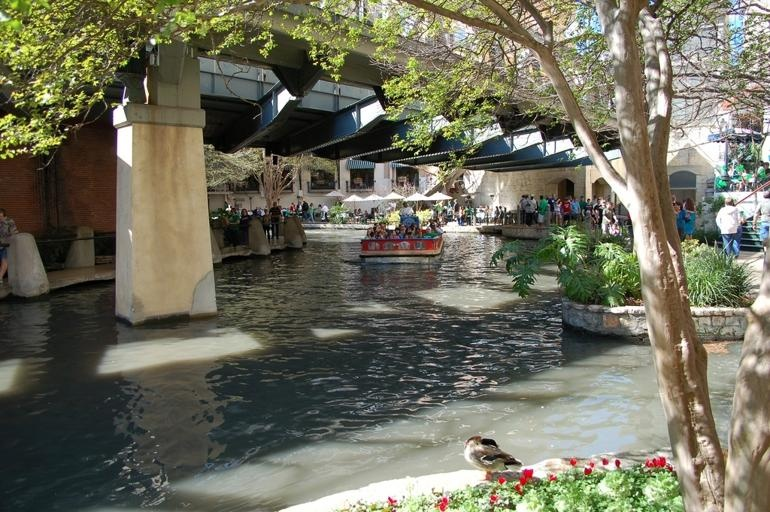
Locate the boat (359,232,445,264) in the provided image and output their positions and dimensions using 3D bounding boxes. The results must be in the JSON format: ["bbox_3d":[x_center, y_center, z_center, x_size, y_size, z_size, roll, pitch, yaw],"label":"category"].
[{"bbox_3d":[0.712,-0.263,22.142,3.428,1.109,0.852,-1,6,-2],"label":"boat"}]

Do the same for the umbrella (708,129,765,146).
[{"bbox_3d":[19.634,-6.568,27.811,2.144,0.919,3.488,4,7,39],"label":"umbrella"}]

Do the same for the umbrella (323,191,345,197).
[{"bbox_3d":[-6.746,-8.314,66.809,2.156,0.657,2.906,-2,6,-7],"label":"umbrella"}]

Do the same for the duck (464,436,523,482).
[{"bbox_3d":[0.979,1.897,4.681,0.601,0.337,0.323,-7,-12,21],"label":"duck"}]

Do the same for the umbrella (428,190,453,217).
[{"bbox_3d":[5.255,-4.797,49.643,2.965,2.185,2.940,3,10,24],"label":"umbrella"}]

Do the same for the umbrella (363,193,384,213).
[{"bbox_3d":[-1.446,-7.041,66.659,2.979,1.865,2.788,-1,5,-14],"label":"umbrella"}]
